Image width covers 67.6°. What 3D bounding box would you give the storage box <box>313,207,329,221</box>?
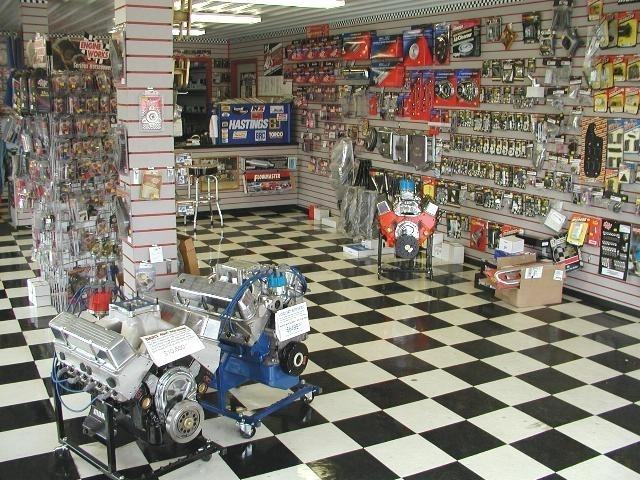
[{"bbox_3d":[0.055,-0.555,10.250,0.260,0.311,0.458,0,8,-29],"label":"storage box"}]

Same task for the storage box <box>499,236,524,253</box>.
[{"bbox_3d":[2.625,0.067,6.523,0.314,0.193,0.318,-8,15,-34],"label":"storage box"}]

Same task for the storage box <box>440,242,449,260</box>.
[{"bbox_3d":[2.023,0.188,7.726,0.063,0.261,0.167,-4,14,-22],"label":"storage box"}]

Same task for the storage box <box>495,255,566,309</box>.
[{"bbox_3d":[2.747,0.569,6.372,1.006,0.516,0.997,-5,2,36],"label":"storage box"}]
